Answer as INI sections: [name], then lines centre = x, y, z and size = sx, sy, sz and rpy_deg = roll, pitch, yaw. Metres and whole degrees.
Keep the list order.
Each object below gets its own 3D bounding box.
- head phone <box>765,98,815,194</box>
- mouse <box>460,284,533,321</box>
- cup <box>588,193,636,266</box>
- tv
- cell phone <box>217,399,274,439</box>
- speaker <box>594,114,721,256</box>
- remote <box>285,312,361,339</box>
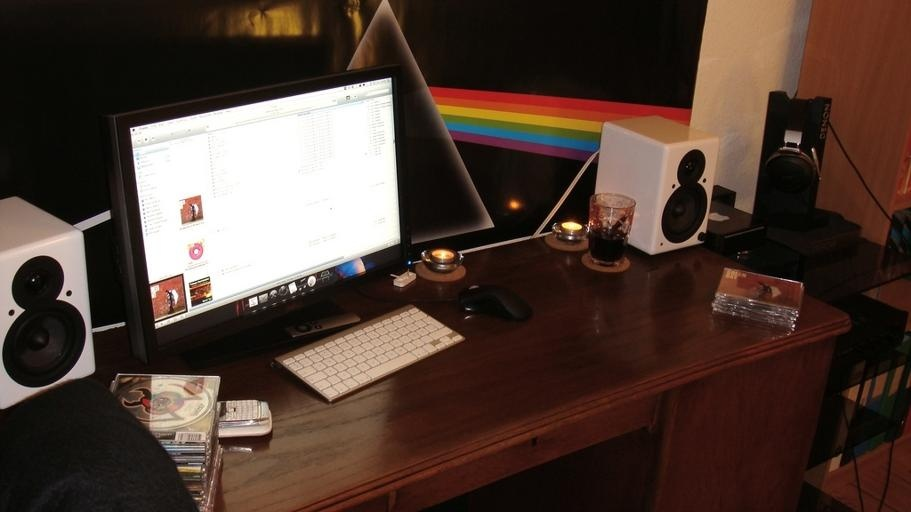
[head phone]
centre = 1.257, -0.425, 2.433
size = 0.155, 0.324, 0.371
rpy_deg = 8, 19, 22
[mouse]
centre = 0.117, 0.138, 1.901
size = 0.182, 0.054, 0.106
rpy_deg = 21, 25, 28
[cup]
centre = 0.513, -0.080, 2.121
size = 0.157, 0.223, 0.154
rpy_deg = 0, 26, 0
[tv]
centre = -0.479, -0.137, 1.725
size = 0.886, 0.581, 0.172
rpy_deg = -21, 36, -27
[cell phone]
centre = -0.508, 0.392, 1.569
size = 0.117, 0.026, 0.077
rpy_deg = -1, 34, -8
[speaker]
centre = 0.704, -0.221, 2.239
size = 0.271, 0.546, 0.345
rpy_deg = 2, 5, -29
[remote]
centre = -0.361, 0.194, 1.850
size = 0.238, 0.022, 0.068
rpy_deg = -15, 33, -26
